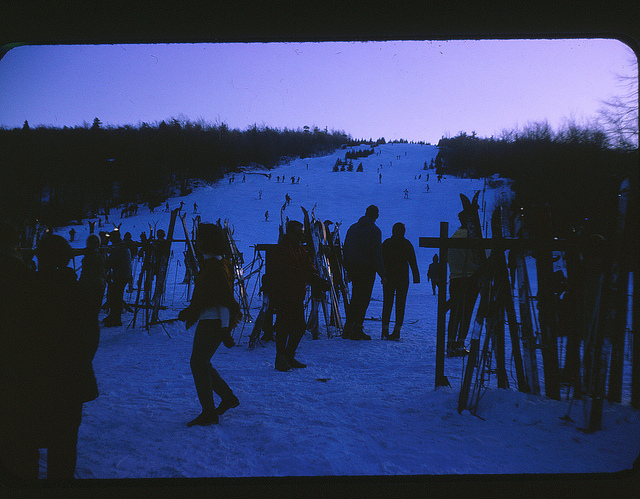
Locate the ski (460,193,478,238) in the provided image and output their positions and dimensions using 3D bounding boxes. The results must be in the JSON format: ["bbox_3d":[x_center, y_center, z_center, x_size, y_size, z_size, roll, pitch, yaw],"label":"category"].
[{"bbox_3d":[1.847,-0.398,7.248,0.202,0.231,2.001,9,-11,16],"label":"ski"}]

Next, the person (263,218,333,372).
[{"bbox_3d":[-0.325,0.661,7.690,0.602,2.088,0.606,-1,6,-7],"label":"person"}]

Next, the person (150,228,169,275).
[{"bbox_3d":[-3.053,0.014,10.984,0.329,0.773,1.149,-2,7,-16],"label":"person"}]

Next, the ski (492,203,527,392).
[{"bbox_3d":[2.160,0.696,6.675,0.245,2.584,0.259,-4,3,3],"label":"ski"}]

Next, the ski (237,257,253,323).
[{"bbox_3d":[-1.570,0.846,11.990,0.151,1.272,0.165,-14,6,-19],"label":"ski"}]

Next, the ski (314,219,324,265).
[{"bbox_3d":[-0.026,-0.161,10.507,0.095,0.980,0.133,-3,-35,-1],"label":"ski"}]

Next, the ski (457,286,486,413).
[{"bbox_3d":[1.776,1.179,6.812,0.092,1.420,0.182,8,-13,16],"label":"ski"}]

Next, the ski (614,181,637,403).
[{"bbox_3d":[3.185,0.361,6.047,0.156,2.503,0.157,5,0,22],"label":"ski"}]

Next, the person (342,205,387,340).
[{"bbox_3d":[0.737,0.428,9.418,0.663,2.275,0.519,2,7,17],"label":"person"}]

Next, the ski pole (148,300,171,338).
[{"bbox_3d":[-3.025,1.314,10.828,0.083,0.682,0.029,-23,-16,-31],"label":"ski pole"}]

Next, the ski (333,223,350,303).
[{"bbox_3d":[0.496,0.414,12.059,0.188,2.219,0.252,-7,-12,-2],"label":"ski"}]
